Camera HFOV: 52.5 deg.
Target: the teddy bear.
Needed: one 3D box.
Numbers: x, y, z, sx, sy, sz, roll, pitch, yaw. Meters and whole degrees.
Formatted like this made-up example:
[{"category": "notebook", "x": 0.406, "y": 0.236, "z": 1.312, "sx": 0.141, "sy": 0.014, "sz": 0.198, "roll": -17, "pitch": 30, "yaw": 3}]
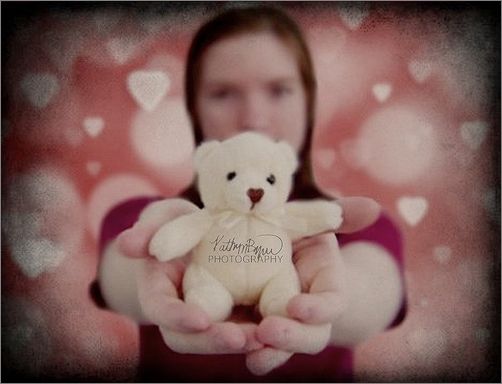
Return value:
[{"category": "teddy bear", "x": -0.012, "y": 0.110, "z": 1.556, "sx": 0.625, "sy": 0.308, "sz": 0.568, "roll": 2, "pitch": 93, "yaw": -19}]
